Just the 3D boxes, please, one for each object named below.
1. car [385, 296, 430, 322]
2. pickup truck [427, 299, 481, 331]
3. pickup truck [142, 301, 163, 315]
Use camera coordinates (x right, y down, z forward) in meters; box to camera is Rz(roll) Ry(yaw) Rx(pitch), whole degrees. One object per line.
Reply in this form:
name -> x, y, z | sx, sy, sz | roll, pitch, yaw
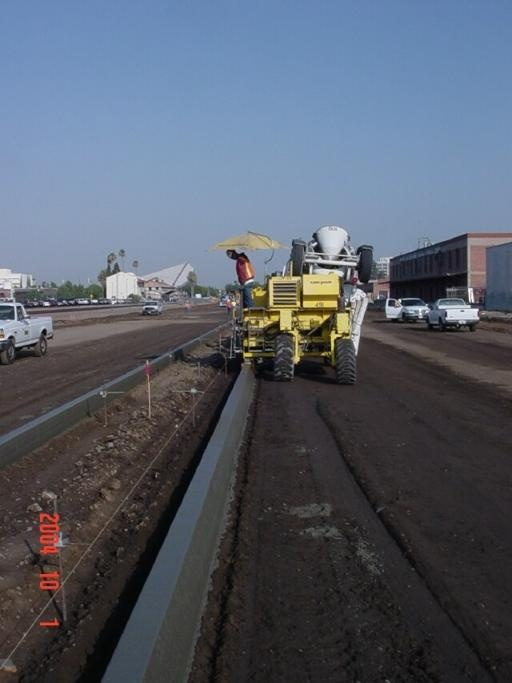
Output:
car -> 13.259, -2.755, 42.324 | 2.200, 1.136, 2.687 | 0, -1, -9
pickup truck -> 12.643, -1.716, 31.049 | 1.865, 2.095, 3.146 | 0, 2, 0
pickup truck -> -13.497, -4.268, 63.359 | 1.711, 1.715, 2.575 | 1, 2, 23
